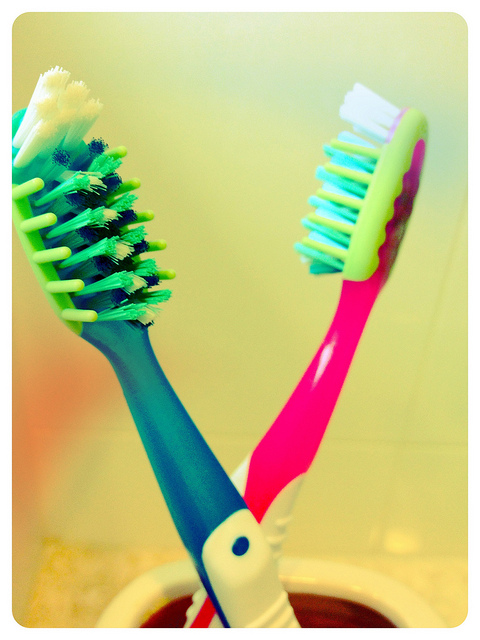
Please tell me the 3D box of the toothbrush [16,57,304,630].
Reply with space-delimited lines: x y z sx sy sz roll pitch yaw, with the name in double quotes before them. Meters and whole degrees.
"toothbrush" -0.110 0.045 0.783 0.119 0.712 0.136 -19 2 -22
